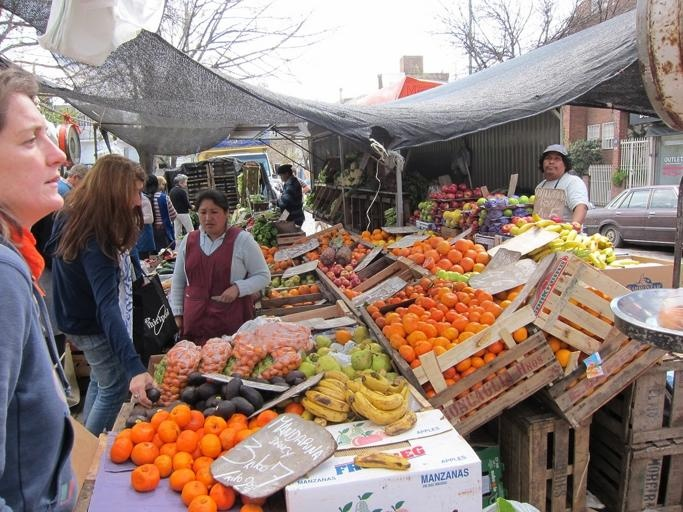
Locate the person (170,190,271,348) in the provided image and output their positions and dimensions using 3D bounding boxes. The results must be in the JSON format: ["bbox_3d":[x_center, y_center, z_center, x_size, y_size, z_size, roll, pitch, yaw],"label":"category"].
[{"bbox_3d":[-1.174,0.174,4.700,0.770,1.537,0.821,-1,14,-6],"label":"person"}]

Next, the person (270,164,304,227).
[{"bbox_3d":[-1.065,-1.251,10.256,0.582,1.406,0.558,-2,13,-25],"label":"person"}]

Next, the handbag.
[{"bbox_3d":[-1.778,0.607,4.648,0.346,0.779,0.390,-2,15,-17],"label":"handbag"}]

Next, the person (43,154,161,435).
[{"bbox_3d":[-1.453,0.289,3.261,0.891,2.189,0.943,-3,16,-22],"label":"person"}]
